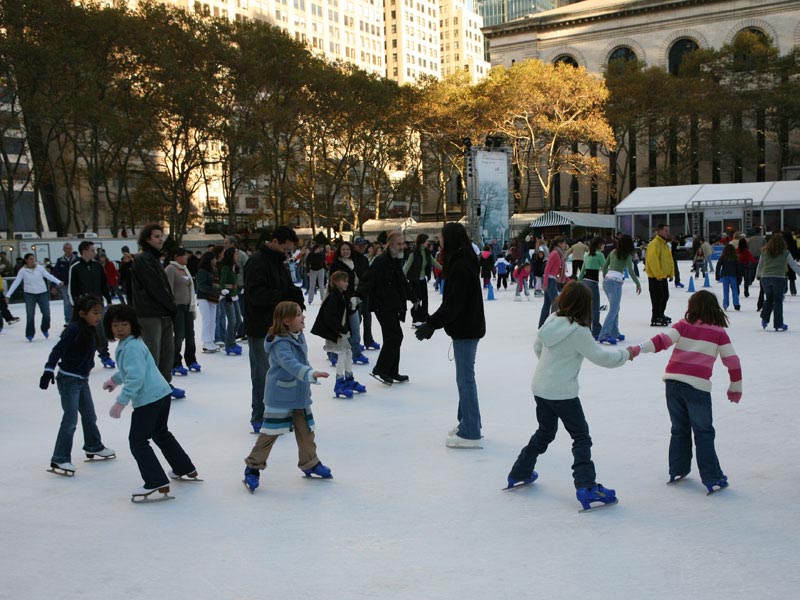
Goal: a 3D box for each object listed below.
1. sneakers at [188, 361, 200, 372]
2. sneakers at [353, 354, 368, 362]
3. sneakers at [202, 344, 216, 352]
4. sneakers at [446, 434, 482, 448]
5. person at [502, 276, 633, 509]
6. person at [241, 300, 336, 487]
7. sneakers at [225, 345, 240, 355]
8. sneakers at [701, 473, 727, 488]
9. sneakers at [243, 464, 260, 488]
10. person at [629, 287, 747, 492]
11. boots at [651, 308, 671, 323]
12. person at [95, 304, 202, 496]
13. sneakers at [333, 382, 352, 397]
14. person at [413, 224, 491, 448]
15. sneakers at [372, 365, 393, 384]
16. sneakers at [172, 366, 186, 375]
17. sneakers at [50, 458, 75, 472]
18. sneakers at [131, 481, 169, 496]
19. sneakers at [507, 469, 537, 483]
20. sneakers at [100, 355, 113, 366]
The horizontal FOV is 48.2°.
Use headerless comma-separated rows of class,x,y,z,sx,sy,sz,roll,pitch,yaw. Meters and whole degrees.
sneakers,-3.385,1.102,14.732,0.190,0.153,0.108,-6,0,33
sneakers,-0.668,0.992,15.150,0.210,0.161,0.123,-4,6,1
sneakers,-3.591,0.907,16.837,0.264,0.118,0.226,-3,11,-12
sneakers,0.738,1.633,10.267,0.400,0.195,0.159,6,-3,7
person,1.693,0.881,8.921,1.144,2.158,0.696,6,13,34
person,-1.194,0.983,9.316,0.906,1.891,0.599,-2,11,-6
sneakers,-3.085,0.924,16.545,0.176,0.161,0.206,1,-5,-8
sneakers,3.206,1.808,8.987,0.328,0.149,0.114,-5,11,-19
sneakers,-1.548,1.822,9.284,0.108,0.129,0.283,5,21,-19
person,3.056,0.887,9.076,0.741,1.963,0.660,2,11,18
boots,5.258,0.337,17.978,0.359,0.415,0.271,-4,8,15
person,-2.590,1.044,9.143,0.810,1.921,0.802,-5,11,-20
sneakers,-0.799,1.250,12.602,0.238,0.229,0.199,-3,11,-8
person,0.642,0.378,10.356,0.657,2.538,0.692,0,11,5
sneakers,-0.273,1.155,13.417,0.376,0.170,0.168,33,15,3
sneakers,-3.569,1.134,14.399,0.197,0.153,0.117,-2,0,-1
sneakers,-3.669,1.815,9.820,0.326,0.147,0.104,5,5,-8
sneakers,-2.551,1.945,9.166,0.431,0.192,0.140,4,-2,-9
sneakers,1.278,1.847,9.165,0.325,0.125,0.160,-13,-18,9
sneakers,-5.058,1.066,15.351,0.288,0.140,0.107,1,9,38
